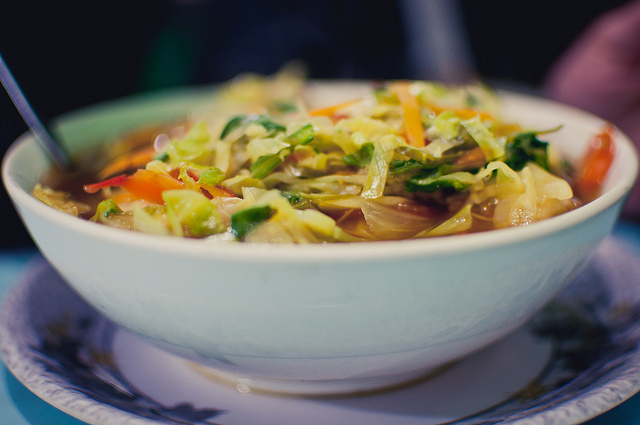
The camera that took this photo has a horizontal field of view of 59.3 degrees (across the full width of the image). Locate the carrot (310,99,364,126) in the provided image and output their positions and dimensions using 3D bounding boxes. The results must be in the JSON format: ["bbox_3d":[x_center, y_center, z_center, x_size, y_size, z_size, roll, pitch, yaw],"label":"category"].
[{"bbox_3d":[0.036,-0.224,1.362,0.095,0.034,0.098,-20,8,-3],"label":"carrot"}]

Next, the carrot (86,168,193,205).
[{"bbox_3d":[-0.397,-0.058,1.134,0.309,0.076,0.069,0,11,8],"label":"carrot"}]

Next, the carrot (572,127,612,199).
[{"bbox_3d":[0.629,-0.113,1.290,0.055,0.057,0.197,-1,51,58],"label":"carrot"}]
